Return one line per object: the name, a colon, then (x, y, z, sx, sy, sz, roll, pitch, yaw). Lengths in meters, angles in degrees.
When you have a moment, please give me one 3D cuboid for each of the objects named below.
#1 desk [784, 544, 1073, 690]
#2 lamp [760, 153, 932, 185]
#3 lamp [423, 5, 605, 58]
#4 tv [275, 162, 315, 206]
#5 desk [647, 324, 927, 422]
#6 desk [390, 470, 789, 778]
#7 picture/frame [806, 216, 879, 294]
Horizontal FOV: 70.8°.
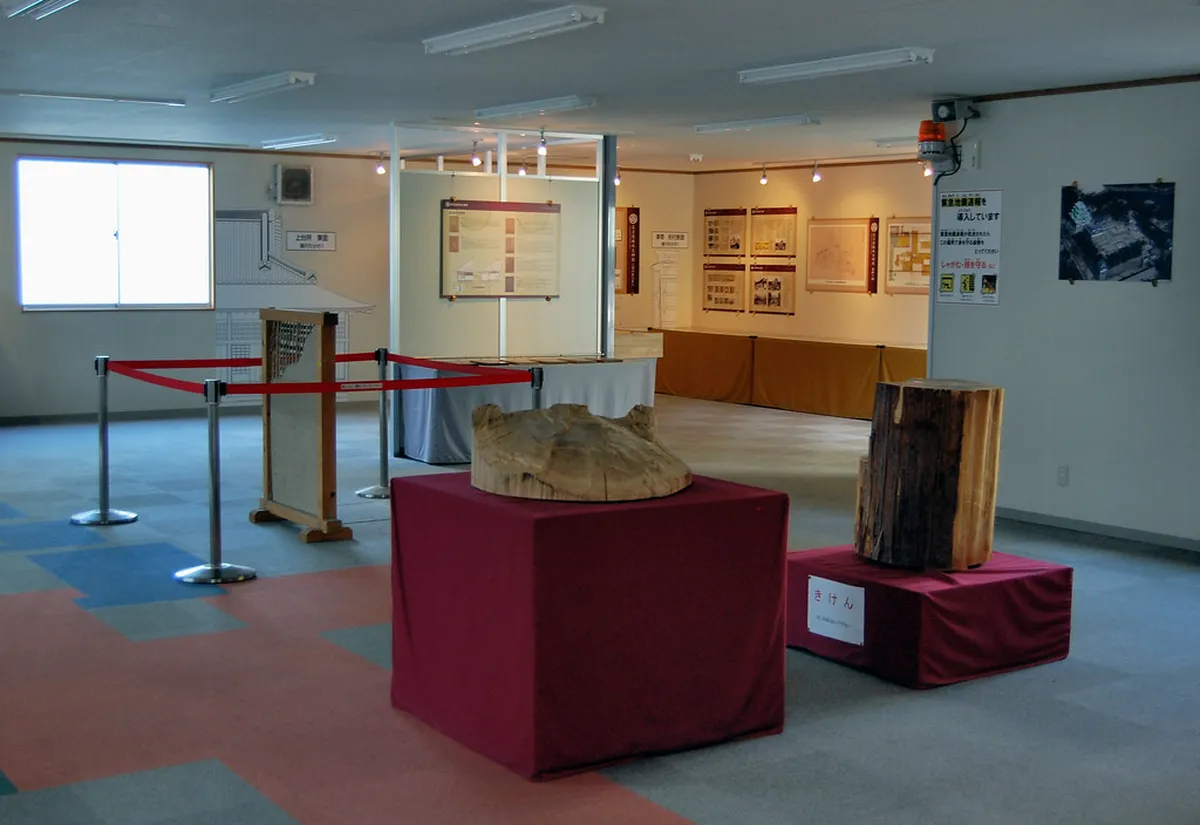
desk: (1.684, 1.023, 4.211, 1.378, 0.502, 0.594, 0, 8, -5)
lamp: (3.607, -3.770, 13.164, 0.799, 0.419, 2.932, -7, 11, -43)
lamp: (-0.551, -2.499, 5.586, 1.631, 0.143, 0.407, 8, 11, 41)
tv: (-4.523, -3.353, 12.396, 0.628, 0.638, 0.342, -2, 4, -36)
desk: (2.657, -0.680, 13.481, 0.775, 1.054, 4.328, -6, 11, -44)
desk: (-0.147, 0.663, 3.617, 1.191, 0.950, 1.185, -2, 4, -32)
picture/frame: (3.920, -2.541, 13.546, 0.124, 1.195, 1.234, -3, 7, -41)
